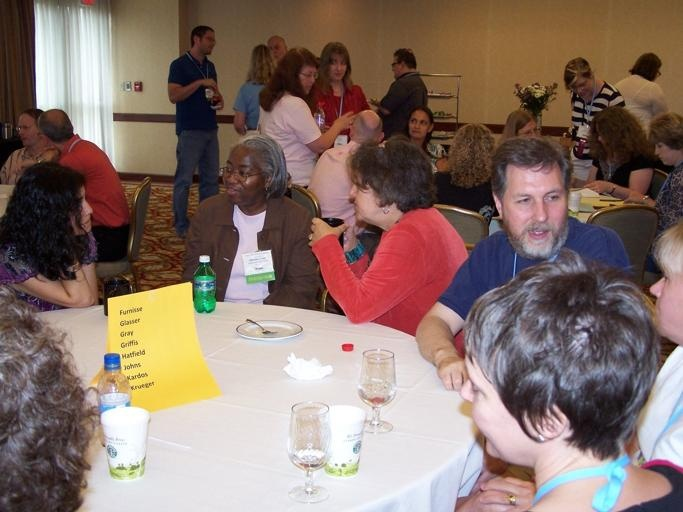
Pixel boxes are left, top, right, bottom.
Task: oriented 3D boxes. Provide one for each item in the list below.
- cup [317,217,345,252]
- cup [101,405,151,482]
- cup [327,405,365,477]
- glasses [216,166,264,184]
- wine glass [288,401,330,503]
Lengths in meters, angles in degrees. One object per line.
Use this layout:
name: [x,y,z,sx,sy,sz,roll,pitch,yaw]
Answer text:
cup: [-0.043,-0.129,2.660,0.097,0.168,0.162,-2,8,0]
cup: [-0.453,0.398,1.120,0.097,0.111,0.100,3,20,-1]
cup: [0.010,0.388,1.148,0.114,0.137,0.124,1,2,0]
glasses: [-0.477,-0.429,2.688,0.130,0.047,0.137,12,-5,22]
wine glass: [-0.067,0.392,1.124,0.084,0.173,0.163,-1,13,-2]
